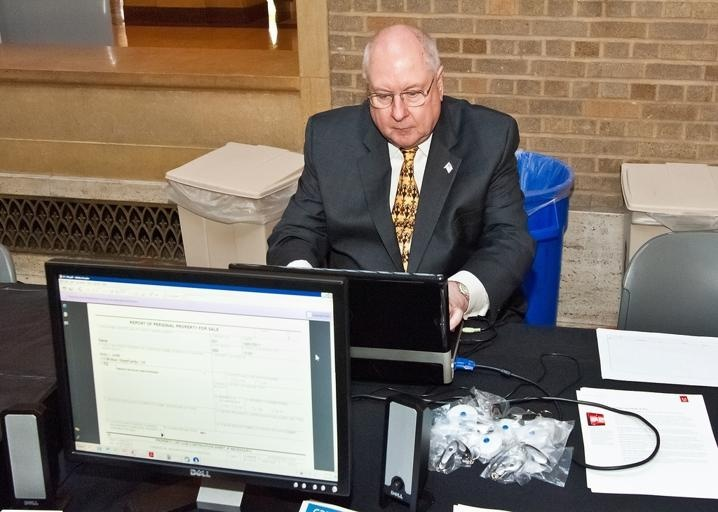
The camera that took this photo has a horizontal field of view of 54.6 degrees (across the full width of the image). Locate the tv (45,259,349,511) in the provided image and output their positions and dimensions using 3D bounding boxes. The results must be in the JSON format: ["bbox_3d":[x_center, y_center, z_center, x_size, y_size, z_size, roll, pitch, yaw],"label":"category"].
[{"bbox_3d":[-0.359,0.288,1.558,0.587,0.374,0.065,4,14,12],"label":"tv"}]

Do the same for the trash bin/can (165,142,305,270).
[{"bbox_3d":[-0.537,-0.288,3.557,0.594,0.671,0.645,7,26,13],"label":"trash bin/can"}]

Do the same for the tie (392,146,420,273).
[{"bbox_3d":[0.164,-0.173,2.469,0.089,0.416,0.157,6,20,11],"label":"tie"}]

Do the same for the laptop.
[{"bbox_3d":[0.049,0.172,1.818,0.499,0.323,0.354,3,18,23],"label":"laptop"}]

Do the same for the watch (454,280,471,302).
[{"bbox_3d":[0.323,0.108,2.167,0.020,0.060,0.045,-33,-4,29],"label":"watch"}]
